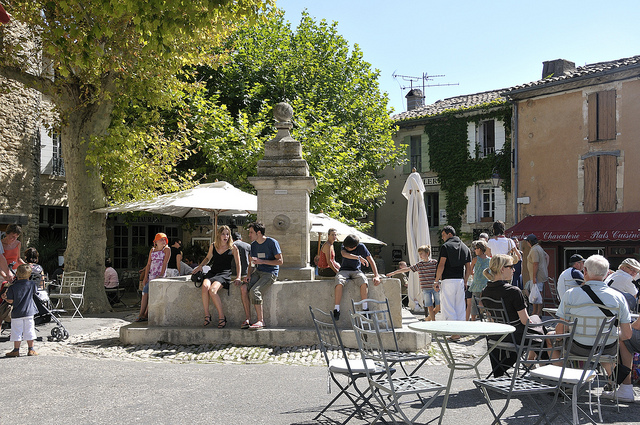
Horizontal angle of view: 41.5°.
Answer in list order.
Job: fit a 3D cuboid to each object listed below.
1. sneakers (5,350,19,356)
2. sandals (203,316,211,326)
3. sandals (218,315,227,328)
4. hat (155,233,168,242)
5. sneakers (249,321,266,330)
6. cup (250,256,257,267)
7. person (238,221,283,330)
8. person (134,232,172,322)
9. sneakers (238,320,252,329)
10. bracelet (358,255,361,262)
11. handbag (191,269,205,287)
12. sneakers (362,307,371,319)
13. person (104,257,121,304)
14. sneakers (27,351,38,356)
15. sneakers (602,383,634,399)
[{"bbox_3d":[-7.010,3.154,18.981,0.349,0.131,0.119,1,-7,20],"label":"sneakers"},{"bbox_3d":[-2.672,2.554,19.871,0.165,0.163,0.436,-1,-16,-4],"label":"sandals"},{"bbox_3d":[-2.306,2.550,19.855,0.207,0.275,0.233,0,-5,-7],"label":"sandals"},{"bbox_3d":[-4.124,0.633,21.907,0.274,0.302,0.325,5,-11,-26],"label":"hat"},{"bbox_3d":[-1.457,2.623,19.608,0.344,0.124,0.150,5,-11,-22],"label":"sneakers"},{"bbox_3d":[-1.561,1.145,19.752,0.146,0.228,0.278,1,-6,-22],"label":"cup"},{"bbox_3d":[-1.377,1.504,19.822,0.898,2.445,0.414,-1,-5,-6],"label":"person"},{"bbox_3d":[-4.266,1.663,21.701,0.622,2.168,0.611,7,-6,4],"label":"person"},{"bbox_3d":[-1.744,2.607,19.723,0.180,0.160,0.378,0,-8,2],"label":"sneakers"},{"bbox_3d":[0.947,1.091,19.896,0.039,0.097,0.088,-22,2,0],"label":"bracelet"},{"bbox_3d":[-2.878,1.530,20.002,0.283,0.408,0.398,7,5,-6],"label":"handbag"},{"bbox_3d":[0.996,2.124,17.893,0.225,0.217,0.579,1,0,-1],"label":"sneakers"},{"bbox_3d":[-6.619,2.299,26.729,0.447,1.267,1.440,0,-6,-13],"label":"person"},{"bbox_3d":[-6.559,3.168,19.074,0.135,0.077,0.138,-3,-5,44],"label":"sneakers"},{"bbox_3d":[5.885,3.533,16.690,0.640,0.250,0.238,-2,-6,38],"label":"sneakers"}]
